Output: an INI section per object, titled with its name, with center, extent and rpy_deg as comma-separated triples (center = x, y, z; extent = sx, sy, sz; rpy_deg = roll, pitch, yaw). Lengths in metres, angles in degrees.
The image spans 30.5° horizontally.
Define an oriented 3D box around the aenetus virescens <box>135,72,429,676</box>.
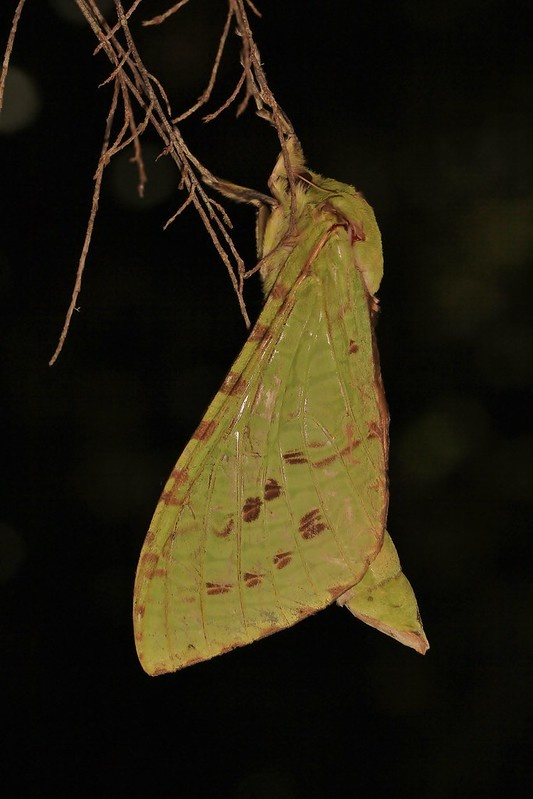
[aenetus virescens]
center = 0.006, -0.024, 0.973
extent = 0.294, 0.140, 0.508
rpy_deg = 9, -90, -11
